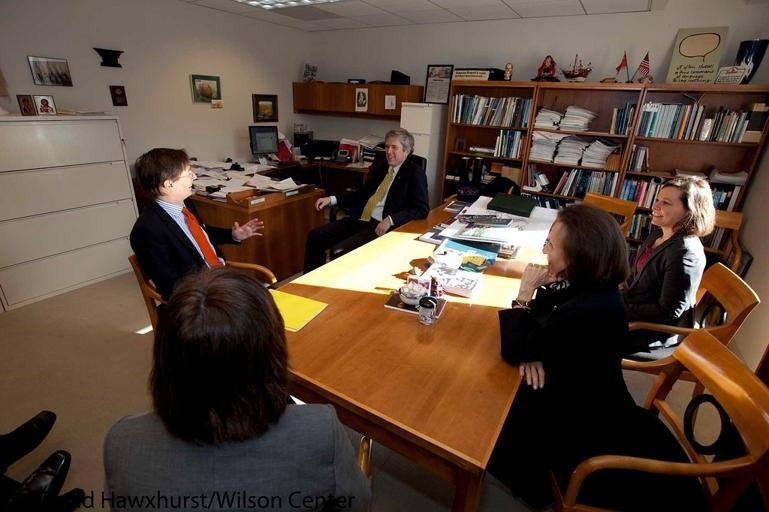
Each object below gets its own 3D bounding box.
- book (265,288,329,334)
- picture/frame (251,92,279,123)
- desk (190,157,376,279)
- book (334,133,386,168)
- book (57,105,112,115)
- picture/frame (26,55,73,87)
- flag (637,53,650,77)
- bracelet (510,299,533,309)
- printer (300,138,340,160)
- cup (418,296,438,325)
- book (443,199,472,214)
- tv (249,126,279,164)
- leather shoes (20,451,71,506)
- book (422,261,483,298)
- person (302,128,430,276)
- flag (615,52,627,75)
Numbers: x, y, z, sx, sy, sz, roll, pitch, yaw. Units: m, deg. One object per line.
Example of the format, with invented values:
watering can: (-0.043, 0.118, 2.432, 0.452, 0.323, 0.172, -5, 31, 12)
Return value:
book: (-0.552, 0.314, 2.811, 0.274, 0.038, 0.296, 18, 35, 25)
picture/frame: (-1.669, -2.071, 6.416, 0.035, 0.353, 0.447, 14, 22, 33)
desk: (-1.037, -0.310, 4.620, 1.613, 0.911, 1.639, 18, 31, 33)
book: (-0.353, -1.483, 6.447, 0.601, 0.188, 0.467, 9, 25, 21)
book: (-2.947, -1.402, 4.506, 0.380, 0.055, 0.755, -12, 26, -32)
picture/frame: (-3.272, -1.808, 4.504, 0.007, 0.254, 0.373, 7, 16, 29)
flag: (2.712, -1.995, 4.823, 0.118, 0.238, 0.257, 13, 24, 24)
bracelet: (0.835, 0.287, 2.816, 0.078, 0.035, 0.061, 8, 19, 37)
printer: (-0.869, -1.510, 6.568, 0.524, 0.247, 0.282, 9, 23, 18)
cup: (0.238, 0.326, 2.762, 0.102, 0.150, 0.161, 0, 24, -5)
book: (0.665, -0.456, 4.314, 0.172, 0.041, 0.186, 6, 21, 24)
tv: (-1.542, -1.448, 5.993, 0.157, 0.431, 0.448, 21, 30, 30)
leather shoes: (-2.067, 1.337, 2.907, 0.136, 0.170, 0.410, 16, 19, -18)
book: (0.442, 0.157, 3.050, 0.249, 0.057, 0.249, 11, 21, 18)
person: (-0.213, -0.363, 4.356, 1.112, 1.584, 0.853, -8, 24, -35)
flag: (2.524, -2.047, 4.907, 0.113, 0.213, 0.252, 12, 24, 23)
